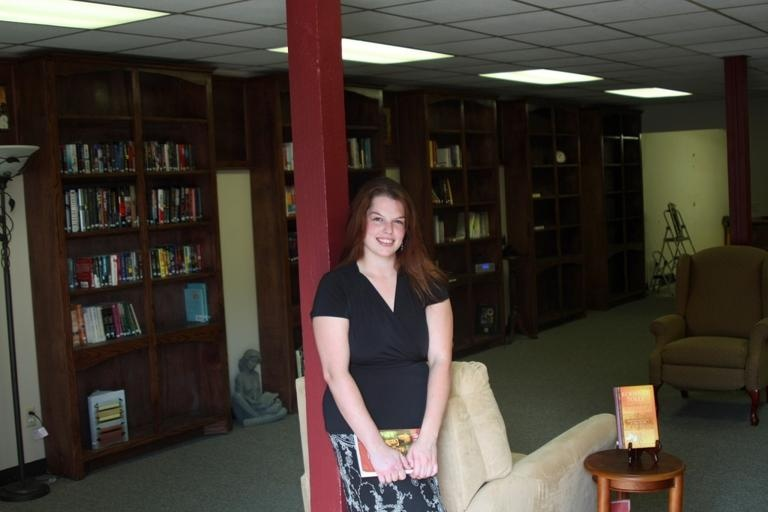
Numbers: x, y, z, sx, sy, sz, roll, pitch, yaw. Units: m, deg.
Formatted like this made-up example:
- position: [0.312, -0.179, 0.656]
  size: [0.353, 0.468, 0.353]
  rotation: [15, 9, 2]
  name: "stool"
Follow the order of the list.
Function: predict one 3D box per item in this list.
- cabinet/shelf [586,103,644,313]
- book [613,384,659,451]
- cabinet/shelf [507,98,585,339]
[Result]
- position: [4.448, -0.959, 11.480]
  size: [0.689, 3.790, 1.962]
  rotation: [2, 10, 40]
  name: "cabinet/shelf"
- position: [1.548, 0.995, 3.633]
  size: [0.345, 0.376, 0.085]
  rotation: [0, -8, 0]
  name: "book"
- position: [2.745, -0.730, 10.172]
  size: [0.870, 3.782, 2.265]
  rotation: [1, 9, 35]
  name: "cabinet/shelf"
